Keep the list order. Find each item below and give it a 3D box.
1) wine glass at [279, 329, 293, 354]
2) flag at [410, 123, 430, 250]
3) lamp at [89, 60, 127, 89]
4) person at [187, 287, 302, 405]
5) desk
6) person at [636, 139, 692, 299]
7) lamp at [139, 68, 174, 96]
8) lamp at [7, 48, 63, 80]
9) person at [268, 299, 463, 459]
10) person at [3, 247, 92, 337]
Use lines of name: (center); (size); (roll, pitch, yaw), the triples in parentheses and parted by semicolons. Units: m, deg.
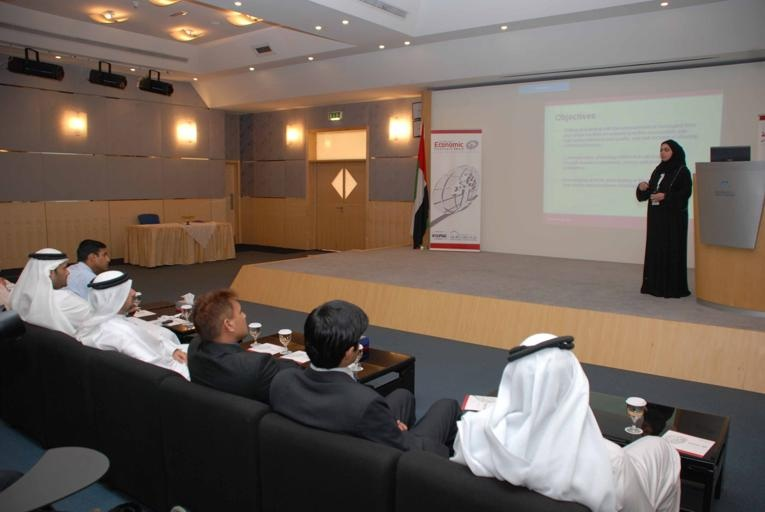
wine glass: (-0.767, 0.661, 3.924); (0.143, 0.193, 0.145); (2, 19, -2)
flag: (0.749, -1.357, 9.512); (0.268, 2.416, 0.357); (6, 7, 41)
lamp: (-5.417, -3.554, 9.647); (0.493, 0.330, 0.260); (14, 16, 1)
person: (-0.976, 0.633, 3.527); (0.480, 0.839, 0.486); (10, 20, 36)
desk: (-4.232, -0.327, 10.445); (1.755, 0.753, 0.970); (-10, 15, -42)
person: (3.359, -0.453, 5.828); (0.571, 1.827, 0.442); (4, 6, 30)
lamp: (-4.738, -3.619, 10.227); (0.280, 0.381, 0.557); (7, 11, 33)
lamp: (-6.200, -3.408, 8.728); (0.214, 0.389, 0.655); (-1, 2, 44)
person: (-0.064, 0.688, 2.769); (0.973, 0.905, 0.666); (-2, 6, -39)
person: (-2.703, 0.237, 4.002); (0.710, 0.598, 0.428); (13, 10, 24)
